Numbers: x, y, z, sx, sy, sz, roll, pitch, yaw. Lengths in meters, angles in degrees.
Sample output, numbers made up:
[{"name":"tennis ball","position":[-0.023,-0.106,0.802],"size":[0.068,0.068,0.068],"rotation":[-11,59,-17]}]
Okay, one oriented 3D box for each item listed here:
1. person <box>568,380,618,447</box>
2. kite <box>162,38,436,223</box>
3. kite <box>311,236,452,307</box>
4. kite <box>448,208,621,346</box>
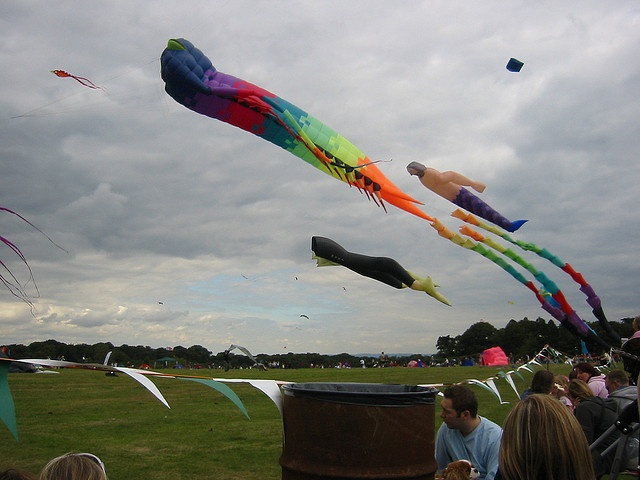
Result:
[{"name":"person","position":[3.972,2.511,6.366],"size":[1.019,0.732,0.361],"rotation":[9,-22,12]},{"name":"kite","position":[1.060,-2.592,9.939],"size":[9.073,1.237,2.740],"rotation":[18,-13,-3]},{"name":"kite","position":[0.975,0.532,8.496],"size":[2.312,0.412,2.043],"rotation":[17,-12,-24]},{"name":"kite","position":[5.697,0.483,12.005],"size":[7.018,1.200,0.613],"rotation":[39,5,-16]}]
